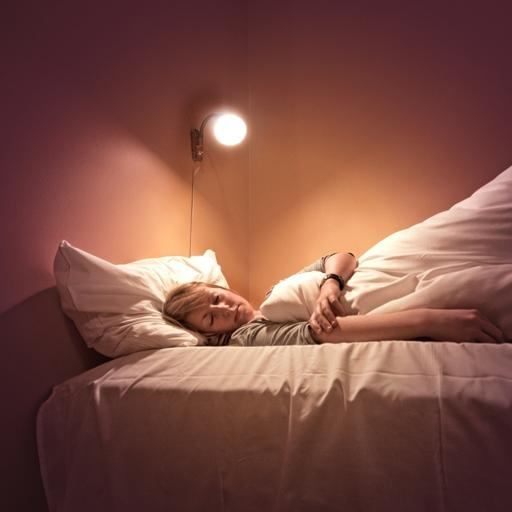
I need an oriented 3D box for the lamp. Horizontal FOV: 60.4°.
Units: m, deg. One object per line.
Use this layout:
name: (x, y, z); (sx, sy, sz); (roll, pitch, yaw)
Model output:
lamp: (-0.172, -0.596, 2.252); (0.294, 0.329, 0.204); (3, 10, 14)
